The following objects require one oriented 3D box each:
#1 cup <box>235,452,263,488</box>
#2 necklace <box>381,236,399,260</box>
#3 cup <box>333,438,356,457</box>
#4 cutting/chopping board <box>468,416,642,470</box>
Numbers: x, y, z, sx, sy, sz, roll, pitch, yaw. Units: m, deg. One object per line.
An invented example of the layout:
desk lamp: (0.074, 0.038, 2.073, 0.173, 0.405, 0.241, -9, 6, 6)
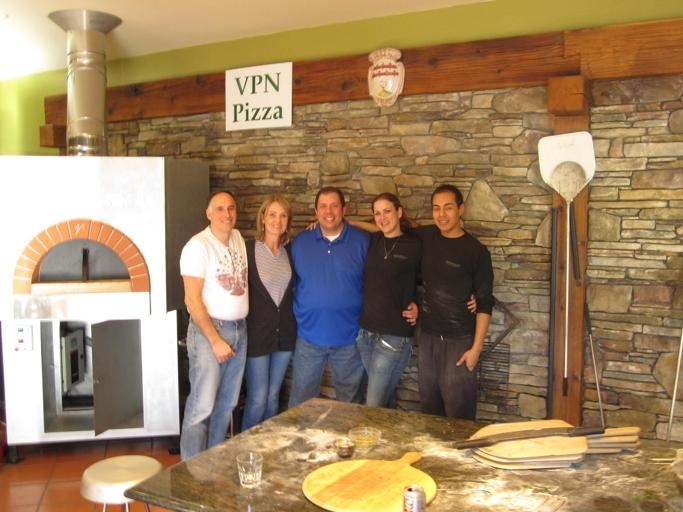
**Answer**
cup: (-0.377, 0.859, 2.206, 0.115, 0.103, 0.124, -1, -2, 0)
necklace: (0.348, -0.051, 3.940, 0.056, 0.220, 0.032, 15, -24, 22)
cup: (0.014, 0.848, 2.416, 0.069, 0.044, 0.067, 0, -4, 0)
cutting/chopping board: (0.919, 0.811, 2.341, 0.505, 0.083, 0.284, -4, 5, -6)
